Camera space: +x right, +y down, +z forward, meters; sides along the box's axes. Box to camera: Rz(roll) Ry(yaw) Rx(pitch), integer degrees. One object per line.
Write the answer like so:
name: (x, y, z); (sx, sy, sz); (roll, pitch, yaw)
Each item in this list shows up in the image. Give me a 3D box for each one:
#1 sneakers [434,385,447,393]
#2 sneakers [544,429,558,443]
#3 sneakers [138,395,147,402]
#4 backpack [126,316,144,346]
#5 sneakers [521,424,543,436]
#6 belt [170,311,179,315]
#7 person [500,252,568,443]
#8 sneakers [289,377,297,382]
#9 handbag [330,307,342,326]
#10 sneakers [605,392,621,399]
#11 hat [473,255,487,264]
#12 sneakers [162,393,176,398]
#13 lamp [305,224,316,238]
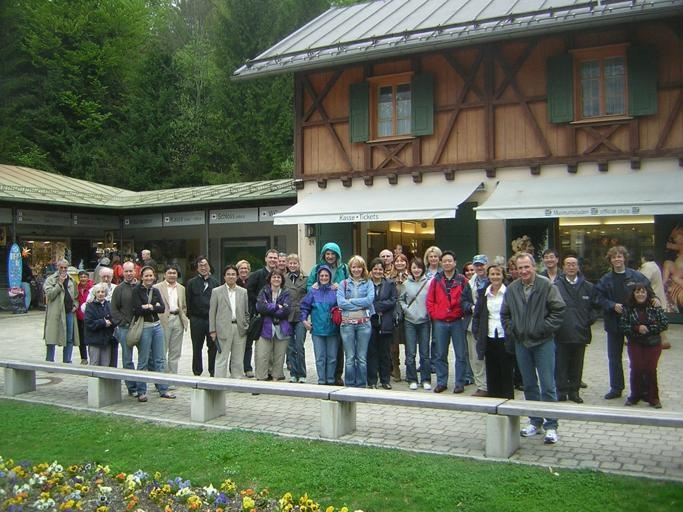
sneakers: (1.661, 2.228, 11.012); (0.084, 0.104, 0.240); (-9, -15, 33)
sneakers: (2.789, 2.398, 8.717); (0.177, 0.172, 0.149); (0, 5, 14)
sneakers: (-3.326, 2.401, 11.027); (0.082, 0.080, 0.174); (4, -11, -33)
backpack: (-3.452, 1.273, 10.965); (0.270, 0.508, 0.157); (-1, 4, 4)
sneakers: (2.645, 2.413, 9.072); (0.371, 0.177, 0.137); (15, -11, -38)
belt: (-2.932, 0.998, 11.562); (0.041, 0.069, 0.164); (3, 7, 40)
person: (2.629, 1.211, 9.008); (0.818, 2.507, 0.576); (3, 6, 39)
sneakers: (-0.865, 2.260, 11.998); (0.070, 0.071, 0.159); (-2, -20, 8)
handbag: (-0.078, 1.008, 11.084); (0.185, 0.277, 0.099); (-5, -6, 29)
sneakers: (4.409, 2.255, 10.608); (0.261, 0.125, 0.101); (3, -7, -5)
hat: (2.360, 0.060, 11.105); (0.228, 0.165, 0.347); (0, 5, 10)
sneakers: (-2.939, 2.379, 11.211); (0.240, 0.107, 0.098); (-7, -8, 29)
lamp: (-0.972, -0.800, 20.678); (0.343, 0.390, 0.195); (2, 5, 22)
